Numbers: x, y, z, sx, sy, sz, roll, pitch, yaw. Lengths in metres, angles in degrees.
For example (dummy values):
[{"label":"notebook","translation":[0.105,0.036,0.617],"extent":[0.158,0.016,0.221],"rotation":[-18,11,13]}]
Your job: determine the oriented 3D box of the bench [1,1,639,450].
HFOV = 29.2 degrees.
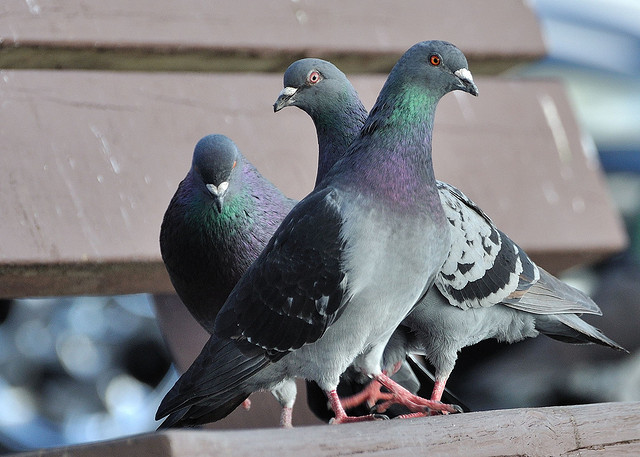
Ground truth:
[{"label":"bench","translation":[-0.026,-0.249,3.266],"extent":[1.582,1.520,1.262],"rotation":[-2,99,-14]}]
